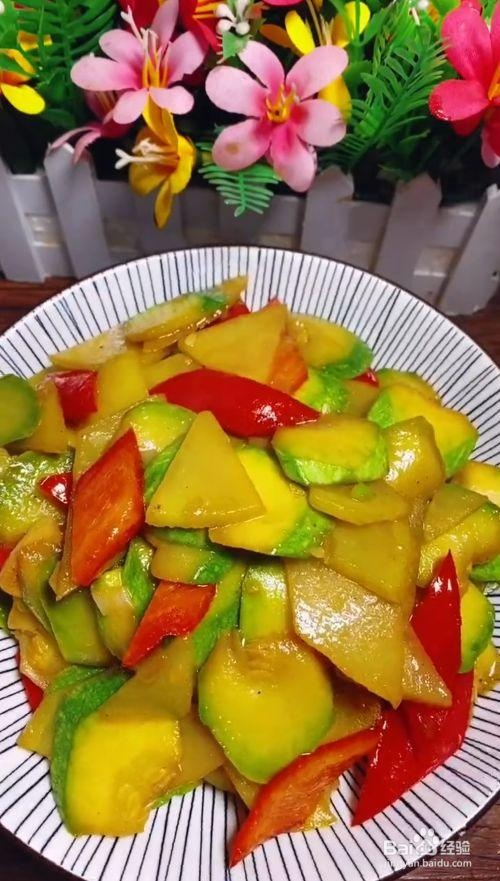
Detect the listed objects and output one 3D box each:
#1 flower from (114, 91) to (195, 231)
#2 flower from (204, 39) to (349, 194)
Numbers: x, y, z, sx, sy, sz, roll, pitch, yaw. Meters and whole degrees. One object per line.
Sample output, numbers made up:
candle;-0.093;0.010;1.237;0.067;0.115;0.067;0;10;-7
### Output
flower;-0.133;-0.403;0.929;0.107;0.146;0.146;-19;44;-31
flower;0.035;-0.428;0.864;0.184;0.161;0.085;6;57;0
